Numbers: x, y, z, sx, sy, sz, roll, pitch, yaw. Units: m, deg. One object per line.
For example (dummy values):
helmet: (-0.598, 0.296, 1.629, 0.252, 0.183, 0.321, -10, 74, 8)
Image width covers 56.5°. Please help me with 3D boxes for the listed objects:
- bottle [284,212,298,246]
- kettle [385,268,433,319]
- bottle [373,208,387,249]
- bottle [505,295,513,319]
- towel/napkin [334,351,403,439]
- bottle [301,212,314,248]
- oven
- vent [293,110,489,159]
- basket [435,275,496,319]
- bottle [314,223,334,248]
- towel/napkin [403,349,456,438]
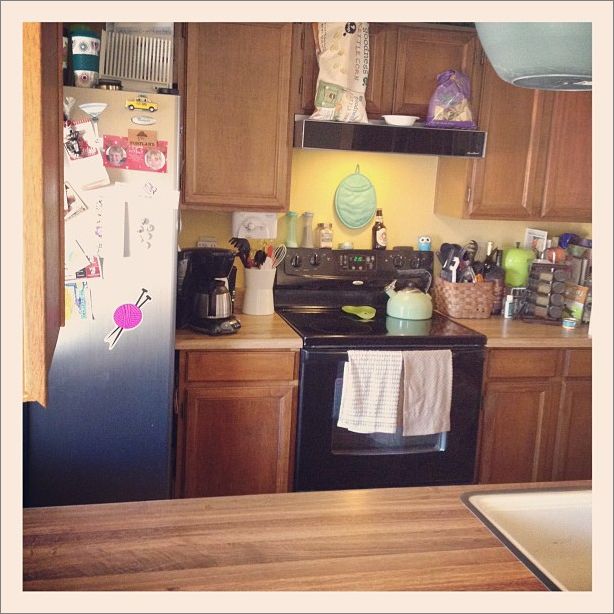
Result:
bottle: (-0.078, -0.400, 2.919, 0.070, 0.176, 0.131, 3, 13, -3)
kettle: (0.488, -0.075, 2.898, 0.294, 0.246, 0.226, 2, 5, 2)
bottle: (0.401, -0.416, 3.035, 0.091, 0.206, 0.122, 1, 14, -12)
bottle: (1.052, -0.002, 2.965, 0.046, 0.121, 0.046, 3, 14, -1)
towel/napkin: (0.270, 0.356, 2.398, 0.271, 0.334, 0.095, 4, 0, 2)
bottle: (0.006, -0.401, 2.946, 0.069, 0.175, 0.118, 3, 13, -1)
oven: (0.306, 0.565, 2.736, 0.942, 0.808, 0.612, 1, -3, -11)
vent: (0.409, -0.756, 2.561, 0.878, 0.123, 0.071, 1, 14, -11)
basket: (0.802, -0.065, 2.912, 0.237, 0.145, 0.231, 2, 5, 12)
bottle: (0.093, -0.383, 3.053, 0.123, 0.186, 0.123, 0, 4, 0)
towel/napkin: (0.503, 0.361, 2.405, 0.238, 0.343, 0.085, -2, 15, -21)
